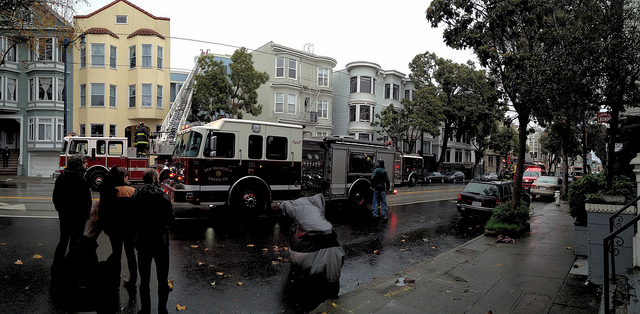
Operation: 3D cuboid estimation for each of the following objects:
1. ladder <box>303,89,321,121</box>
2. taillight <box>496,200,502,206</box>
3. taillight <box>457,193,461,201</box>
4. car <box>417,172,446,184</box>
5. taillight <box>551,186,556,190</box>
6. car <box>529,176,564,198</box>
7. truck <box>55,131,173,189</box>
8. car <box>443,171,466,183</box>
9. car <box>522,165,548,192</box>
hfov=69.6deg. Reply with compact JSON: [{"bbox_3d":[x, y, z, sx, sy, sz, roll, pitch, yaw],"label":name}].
[{"bbox_3d":[-0.995,-5.867,51.240,0.649,4.486,0.495,11,-34,51],"label":"ladder"},{"bbox_3d":[11.172,2.831,28.785,0.083,0.282,0.322,24,-3,-11],"label":"taillight"},{"bbox_3d":[8.962,2.579,29.599,0.172,0.404,0.047,-1,-1,37],"label":"taillight"},{"bbox_3d":[13.261,2.446,54.981,3.568,0.923,1.515,3,-5,-37],"label":"car"},{"bbox_3d":[19.399,2.548,38.251,0.329,0.261,0.074,10,2,8],"label":"taillight"},{"bbox_3d":[19.389,2.509,39.072,2.713,1.676,1.815,0,-1,-31],"label":"car"},{"bbox_3d":[-15.777,-0.058,37.483,4.213,4.265,10.590,-13,-4,13],"label":"truck"},{"bbox_3d":[17.129,2.463,58.964,2.580,1.061,1.417,5,-8,-42],"label":"car"},{"bbox_3d":[20.533,1.898,44.142,2.018,1.770,4.760,-2,7,42],"label":"car"}]
